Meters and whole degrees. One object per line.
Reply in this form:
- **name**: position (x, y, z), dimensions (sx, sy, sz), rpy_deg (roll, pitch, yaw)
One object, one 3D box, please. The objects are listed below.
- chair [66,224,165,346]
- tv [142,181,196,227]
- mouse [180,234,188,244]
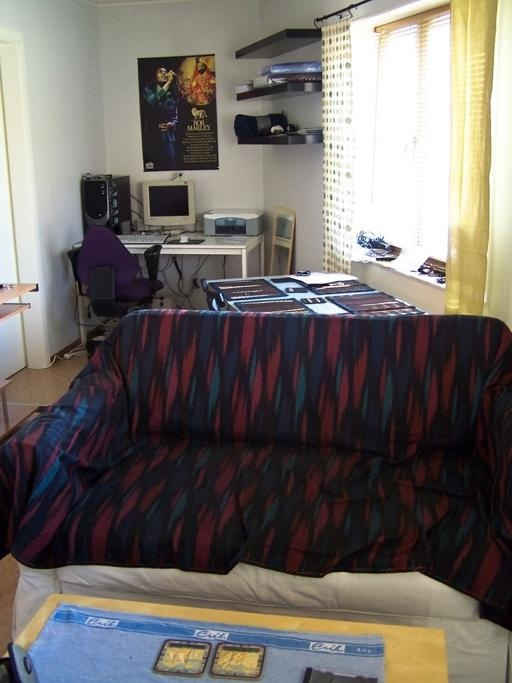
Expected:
- **chair**: position (-1.061, -0.457, 4.094), dimensions (0.622, 1.009, 0.649), rpy_deg (-9, 33, -18)
- **tv**: position (-0.731, -1.251, 4.839), dimensions (0.558, 0.585, 0.337), rpy_deg (0, 17, -1)
- **mouse**: position (-0.596, -0.850, 4.416), dimensions (0.051, 0.063, 0.166), rpy_deg (-1, 15, -5)
